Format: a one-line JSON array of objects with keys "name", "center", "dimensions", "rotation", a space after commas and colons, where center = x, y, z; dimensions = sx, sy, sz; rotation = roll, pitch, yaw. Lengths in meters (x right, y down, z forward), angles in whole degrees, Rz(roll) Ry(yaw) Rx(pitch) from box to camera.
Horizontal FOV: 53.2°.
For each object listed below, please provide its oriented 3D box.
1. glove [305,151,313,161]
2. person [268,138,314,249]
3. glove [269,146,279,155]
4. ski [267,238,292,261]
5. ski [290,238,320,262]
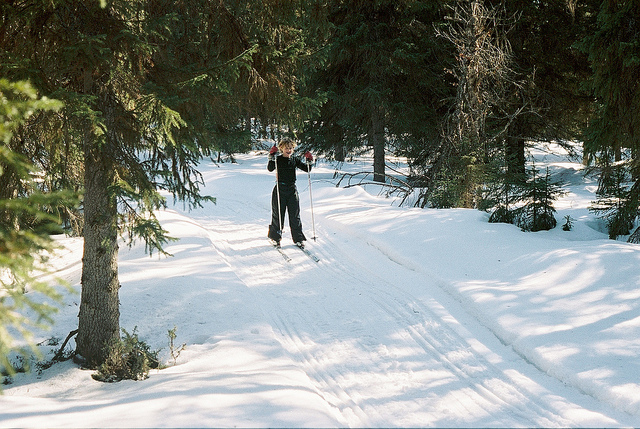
[{"name": "glove", "center": [-0.249, -1.249, 14.142], "dimensions": [0.175, 0.257, 0.091], "rotation": [-10, 19, -6]}, {"name": "person", "center": [-0.684, -0.490, 14.312], "dimensions": [0.945, 2.420, 0.945], "rotation": [1, 8, 1]}, {"name": "glove", "center": [-0.990, -1.360, 13.594], "dimensions": [0.161, 0.194, 0.447], "rotation": [0, 9, -3]}, {"name": "ski", "center": [-0.868, 0.716, 13.994], "dimensions": [0.186, 0.137, 1.688], "rotation": [-17, 20, -7]}, {"name": "ski", "center": [-0.283, 0.779, 13.823], "dimensions": [0.109, 0.111, 1.028], "rotation": [-21, 29, -20]}]
